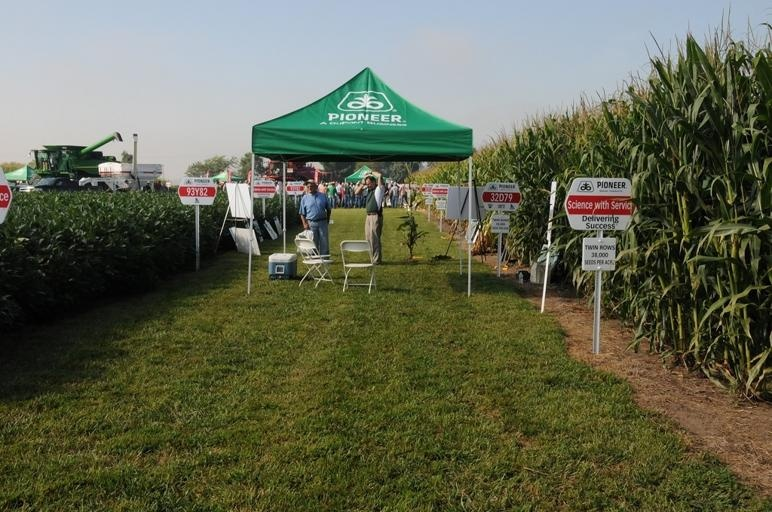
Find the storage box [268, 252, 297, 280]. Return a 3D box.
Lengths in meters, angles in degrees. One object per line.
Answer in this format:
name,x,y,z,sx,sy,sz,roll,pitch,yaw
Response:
storage box,-2.188,0.224,13.228,0.563,0.513,0.387,-2,8,-13

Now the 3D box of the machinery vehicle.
machinery vehicle,-21.994,-6.987,44.836,5.634,2.903,3.137,-4,14,-15

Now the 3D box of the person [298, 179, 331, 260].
person,-1.608,-0.835,14.554,0.746,2.005,0.496,-11,34,-13
